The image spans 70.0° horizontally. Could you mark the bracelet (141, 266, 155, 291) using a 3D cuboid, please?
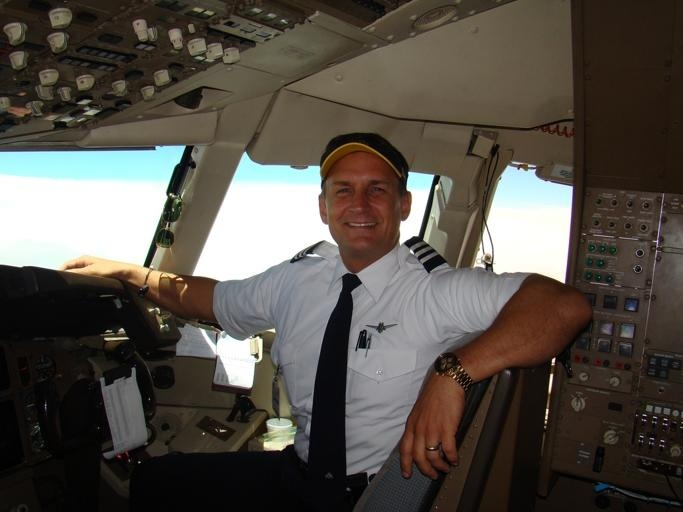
[{"bbox_3d":[-1.140,0.137,2.854,0.030,0.109,0.081,13,5,33],"label":"bracelet"}]
